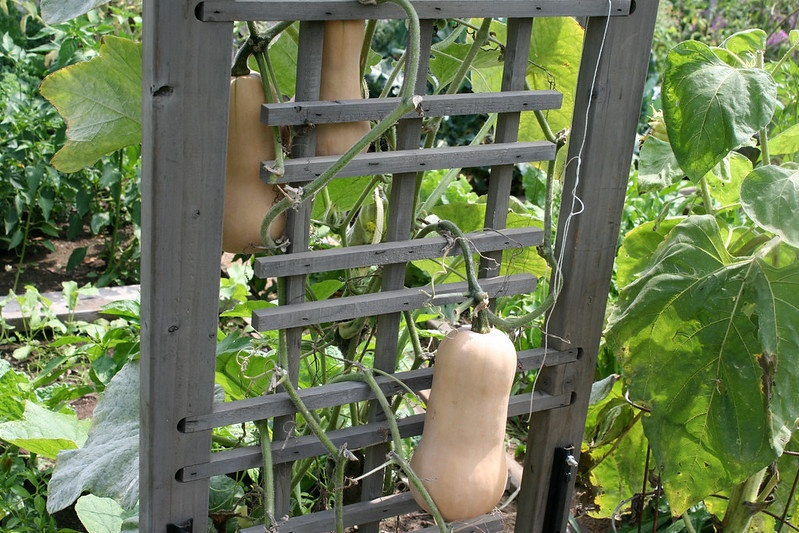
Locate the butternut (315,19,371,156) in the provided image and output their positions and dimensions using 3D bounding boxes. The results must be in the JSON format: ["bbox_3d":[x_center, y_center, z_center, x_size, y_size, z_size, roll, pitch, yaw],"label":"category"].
[{"bbox_3d":[-0.116,-0.415,1.872,0.097,0.304,0.186,9,16,24],"label":"butternut"}]

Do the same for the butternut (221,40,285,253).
[{"bbox_3d":[-0.342,-0.260,1.819,0.134,0.484,0.133,5,15,11],"label":"butternut"}]
